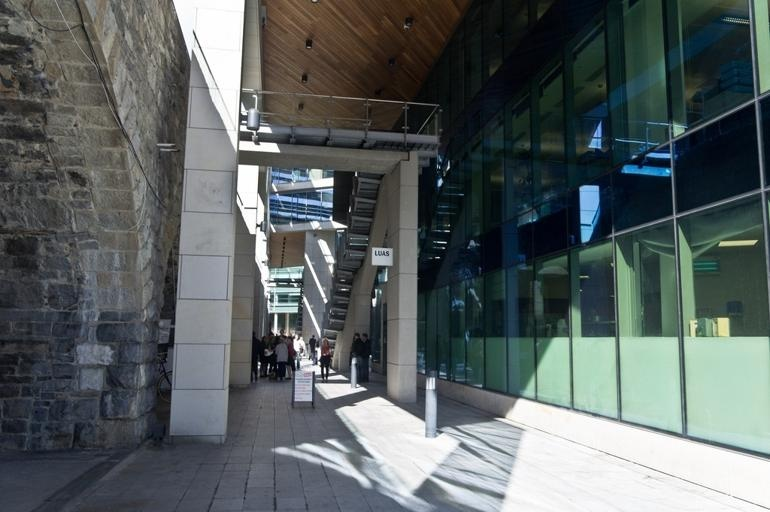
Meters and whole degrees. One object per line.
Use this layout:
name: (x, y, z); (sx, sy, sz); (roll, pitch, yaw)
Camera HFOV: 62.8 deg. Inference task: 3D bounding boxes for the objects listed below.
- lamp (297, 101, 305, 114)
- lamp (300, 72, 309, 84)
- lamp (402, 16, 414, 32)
lamp: (-3.541, -6.346, 26.750); (0.237, 0.446, 0.230); (3, -6, -2)
lamp: (-3.118, -6.977, 24.693); (0.224, 0.418, 0.224); (5, -8, -8)
lamp: (0.803, -7.928, 21.339); (0.293, 0.314, 0.212); (1, -37, -2)
